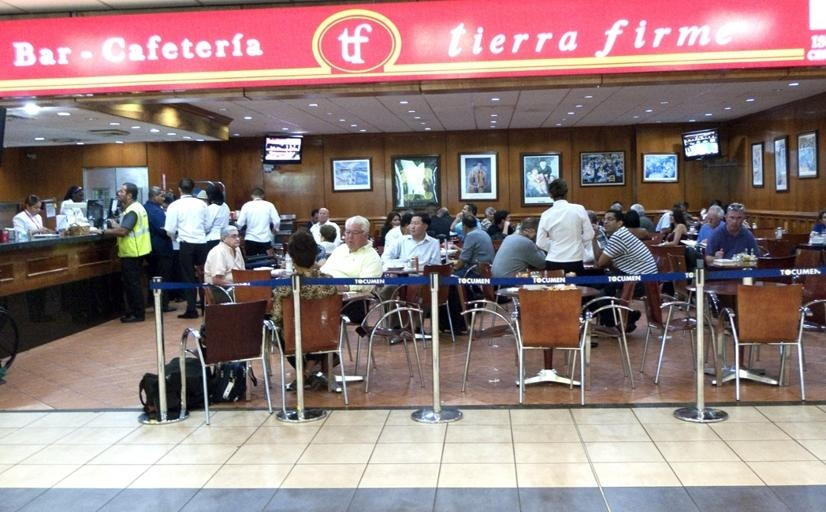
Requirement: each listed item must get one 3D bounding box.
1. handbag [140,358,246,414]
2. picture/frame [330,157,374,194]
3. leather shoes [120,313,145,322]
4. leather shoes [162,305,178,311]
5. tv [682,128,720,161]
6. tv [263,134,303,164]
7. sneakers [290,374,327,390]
[{"bbox_3d":[-2.373,1.397,7.092,0.941,0.360,0.614,1,0,-38],"label":"handbag"},{"bbox_3d":[-1.764,-2.480,19.553,1.358,0.899,0.090,0,2,0],"label":"picture/frame"},{"bbox_3d":[-4.673,1.030,10.993,0.383,0.132,0.153,3,-1,-1],"label":"leather shoes"},{"bbox_3d":[-4.363,0.941,11.740,0.170,0.137,0.143,0,-3,-9],"label":"leather shoes"},{"bbox_3d":[7.771,-3.009,17.592,0.616,0.816,1.082,-1,-2,-41],"label":"tv"},{"bbox_3d":[-3.540,-2.928,17.814,1.181,0.694,0.146,1,5,-1],"label":"tv"},{"bbox_3d":[-1.182,1.459,7.528,0.326,0.110,0.235,0,1,-9],"label":"sneakers"}]
